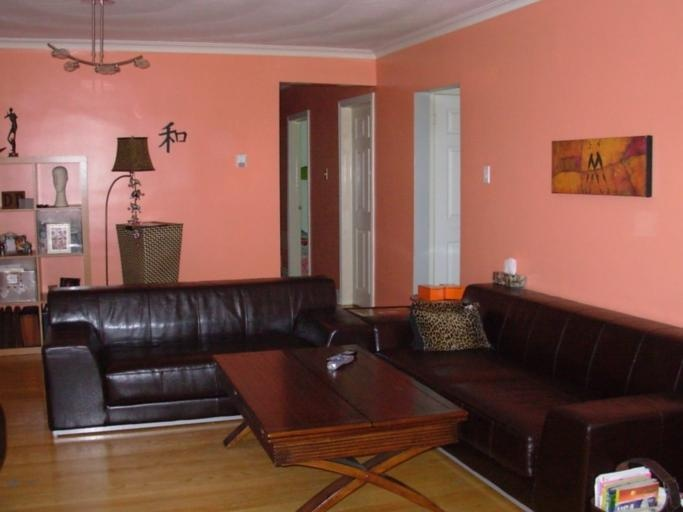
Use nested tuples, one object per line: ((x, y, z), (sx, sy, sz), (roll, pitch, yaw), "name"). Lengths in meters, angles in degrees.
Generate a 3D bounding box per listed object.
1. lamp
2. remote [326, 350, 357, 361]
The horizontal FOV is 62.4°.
((-2.306, -0.455, 6.033), (0.510, 1.679, 1.167), (-4, 9, -23), "lamp")
((0.000, 0.615, 3.455), (0.063, 0.068, 0.199), (5, 11, 45), "remote")
